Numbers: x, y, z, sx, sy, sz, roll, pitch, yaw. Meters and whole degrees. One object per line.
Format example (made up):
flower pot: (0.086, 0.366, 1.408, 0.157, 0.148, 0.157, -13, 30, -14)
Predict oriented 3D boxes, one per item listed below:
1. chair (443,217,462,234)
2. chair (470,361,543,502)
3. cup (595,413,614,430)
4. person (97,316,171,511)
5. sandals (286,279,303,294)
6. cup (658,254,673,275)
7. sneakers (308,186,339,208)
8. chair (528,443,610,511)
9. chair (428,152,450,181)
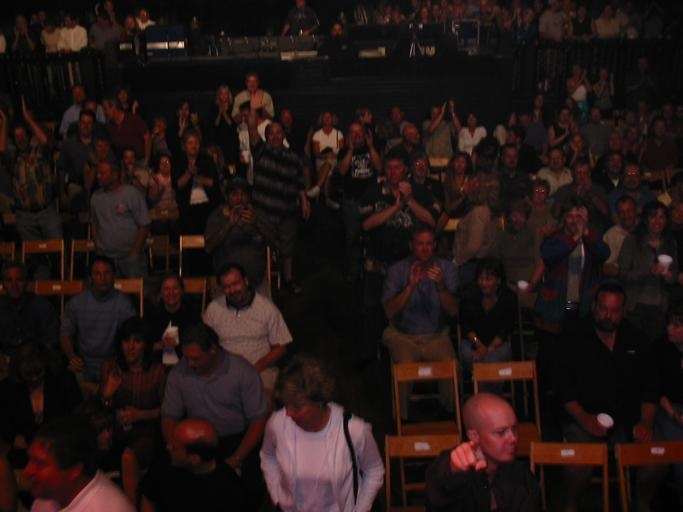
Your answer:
chair: (1.184, -0.322, 7.940, 0.145, 0.159, 0.271, 5, -5, -6)
chair: (1.236, 1.331, 5.508, 0.556, 1.121, 0.757, -2, 37, 10)
cup: (2.275, 1.456, 6.332, 0.132, 0.074, 0.136, 2, 28, -1)
person: (-1.721, 1.358, 6.506, 0.494, 0.856, 1.426, 7, 40, -15)
sandals: (-0.533, 0.351, 8.206, 0.106, 0.070, 0.215, -30, 64, -19)
cup: (3.328, 0.078, 7.615, 0.154, 0.192, 0.166, 0, 18, 0)
sneakers: (-0.213, -0.674, 8.547, 0.375, 0.273, 0.118, -3, 7, -5)
chair: (1.813, 1.886, 5.805, 0.601, 0.657, 0.579, -1, 33, 9)
chair: (1.108, -0.991, 8.256, 0.241, 0.284, 0.355, -2, 7, 6)
